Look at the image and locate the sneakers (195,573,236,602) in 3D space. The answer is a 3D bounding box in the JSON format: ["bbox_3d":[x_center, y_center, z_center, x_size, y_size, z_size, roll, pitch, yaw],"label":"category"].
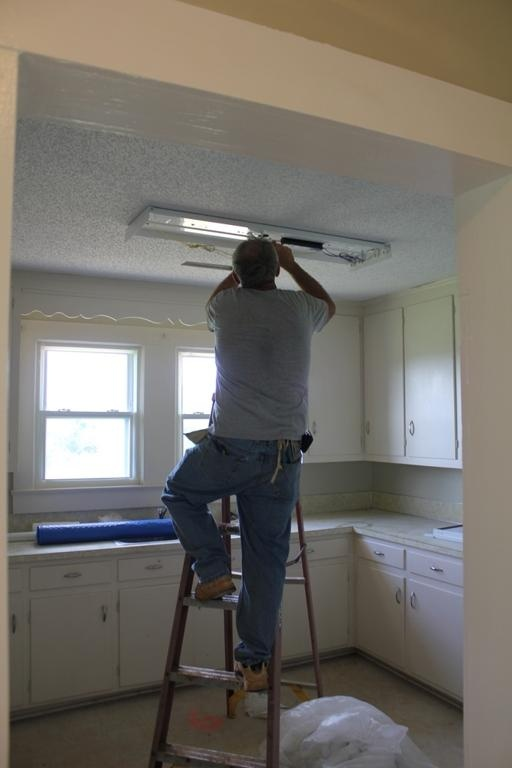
[{"bbox_3d":[-0.134,0.671,1.953,0.064,0.088,0.183,-3,-13,-29],"label":"sneakers"}]

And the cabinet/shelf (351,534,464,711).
[{"bbox_3d":[1.087,1.387,3.577,0.492,0.780,1.004,5,-6,-27],"label":"cabinet/shelf"}]

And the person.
[{"bbox_3d":[-0.019,0.249,1.885,0.537,1.422,0.356,-6,-8,19],"label":"person"}]
